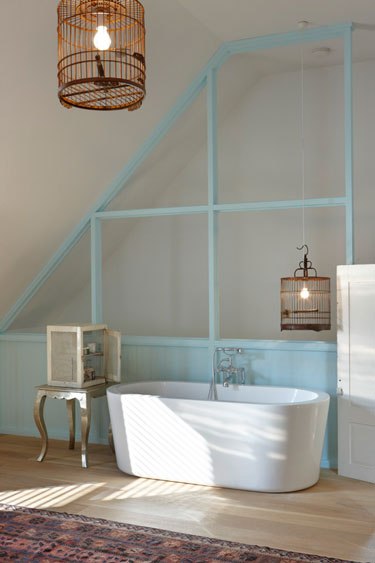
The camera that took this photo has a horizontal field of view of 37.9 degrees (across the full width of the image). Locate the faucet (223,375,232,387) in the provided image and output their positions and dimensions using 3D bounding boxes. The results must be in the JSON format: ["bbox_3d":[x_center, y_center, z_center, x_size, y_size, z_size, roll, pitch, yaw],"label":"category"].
[{"bbox_3d":[0.301,0.743,4.082,0.046,0.092,0.087,2,2,-9],"label":"faucet"}]

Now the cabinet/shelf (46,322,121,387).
[{"bbox_3d":[-0.812,0.571,4.224,0.524,0.464,0.370,-1,-2,20],"label":"cabinet/shelf"}]

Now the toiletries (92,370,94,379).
[{"bbox_3d":[-0.719,0.703,4.146,0.009,0.065,0.032,-2,-3,17],"label":"toiletries"}]

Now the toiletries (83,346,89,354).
[{"bbox_3d":[-0.768,0.520,4.104,0.041,0.056,0.075,1,-1,13],"label":"toiletries"}]
